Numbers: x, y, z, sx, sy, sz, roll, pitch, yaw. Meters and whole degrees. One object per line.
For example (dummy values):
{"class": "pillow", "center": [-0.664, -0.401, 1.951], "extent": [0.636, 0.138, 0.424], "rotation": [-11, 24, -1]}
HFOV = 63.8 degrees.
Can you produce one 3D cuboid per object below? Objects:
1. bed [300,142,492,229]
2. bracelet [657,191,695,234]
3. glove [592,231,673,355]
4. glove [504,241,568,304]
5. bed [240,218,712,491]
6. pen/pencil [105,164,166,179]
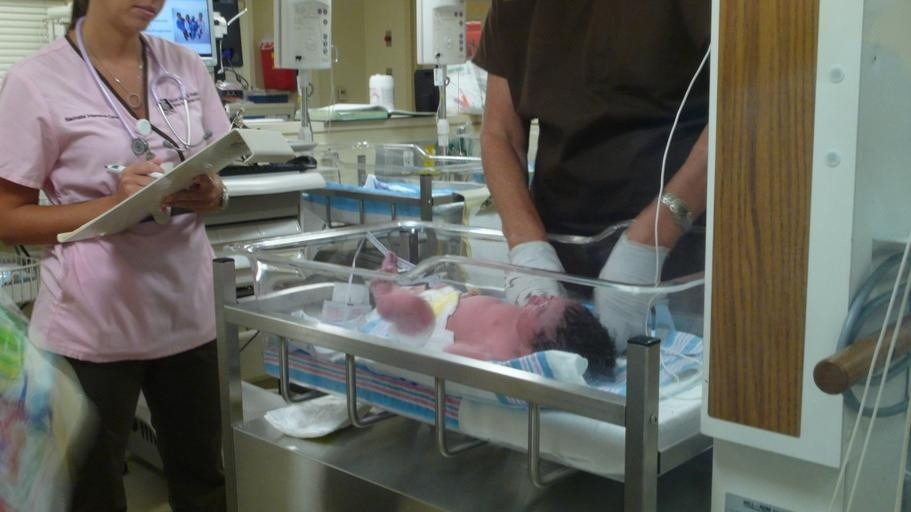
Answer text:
{"class": "bed", "center": [-0.258, -0.298, 2.986], "extent": [0.570, 0.327, 0.469], "rotation": [9, 18, 32]}
{"class": "bracelet", "center": [0.401, -0.082, 1.329], "extent": [0.082, 0.056, 0.025], "rotation": [51, 32, 10]}
{"class": "glove", "center": [0.306, 0.065, 1.242], "extent": [0.068, 0.063, 0.203], "rotation": [13, 34, 23]}
{"class": "glove", "center": [0.148, 0.027, 1.407], "extent": [0.093, 0.038, 0.137], "rotation": [-13, 15, -2]}
{"class": "bed", "center": [0.054, 0.107, 1.354], "extent": [0.729, 0.224, 0.435], "rotation": [6, 11, 32]}
{"class": "pen/pencil", "center": [-0.772, -0.205, 1.765], "extent": [0.101, 0.028, 0.023], "rotation": [12, 57, -8]}
